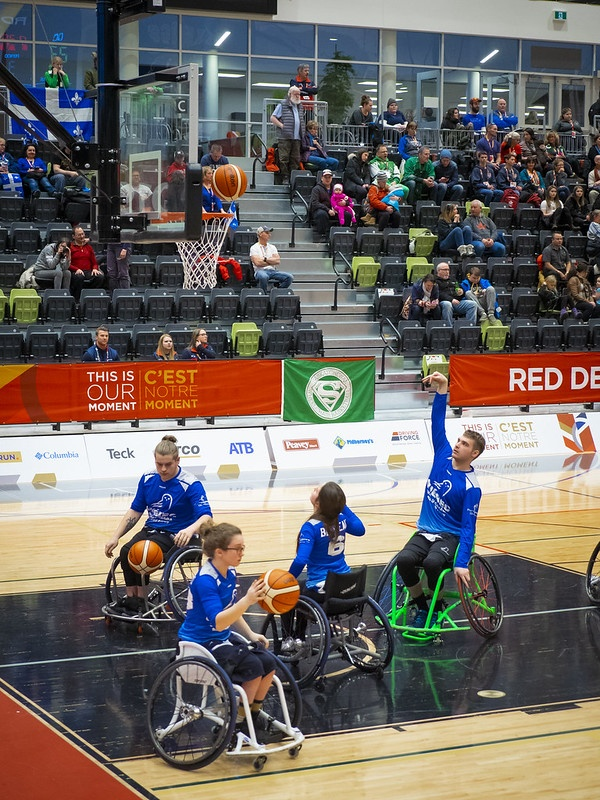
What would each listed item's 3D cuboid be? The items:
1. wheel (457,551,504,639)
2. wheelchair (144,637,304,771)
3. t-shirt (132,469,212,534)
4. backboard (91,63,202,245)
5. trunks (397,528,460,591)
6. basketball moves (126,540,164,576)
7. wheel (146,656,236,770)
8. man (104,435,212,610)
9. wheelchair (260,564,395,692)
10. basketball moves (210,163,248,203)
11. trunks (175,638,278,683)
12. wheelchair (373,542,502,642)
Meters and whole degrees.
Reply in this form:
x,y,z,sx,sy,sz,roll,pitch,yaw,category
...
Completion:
x,y,z,sx,sy,sz,roll,pitch,yaw,category
1.373,1.512,7.210,0.166,0.586,0.623,-19,-26,33,wheel
-0.402,1.486,4.920,0.864,0.817,0.813,1,-12,-4,wheelchair
-0.984,0.762,7.215,0.683,0.495,0.340,9,22,20,t-shirt
-1.261,-1.959,7.585,0.636,1.442,1.471,-3,7,-34,backboard
0.955,1.214,6.959,0.408,0.404,0.380,2,3,15,trunks
-1.154,1.142,6.907,0.243,0.234,0.249,-2,5,22,basketball moves
-0.535,1.550,4.984,0.595,0.623,0.190,-13,-8,39,wheel
-1.072,0.939,7.085,0.759,1.291,0.834,7,10,38,man
0.134,1.426,6.165,0.772,0.757,0.659,16,13,40,wheelchair
-1.148,-3.539,15.314,0.578,0.631,0.564,2,0,2,basketball moves
-0.386,1.298,4.742,0.342,0.146,0.246,-1,1,29,trunks
1.112,1.393,7.270,0.704,0.913,0.803,-10,-3,32,wheelchair
